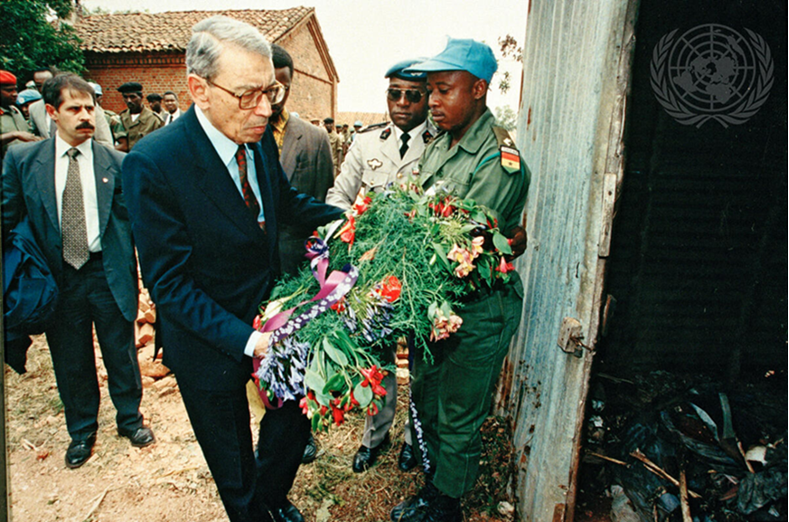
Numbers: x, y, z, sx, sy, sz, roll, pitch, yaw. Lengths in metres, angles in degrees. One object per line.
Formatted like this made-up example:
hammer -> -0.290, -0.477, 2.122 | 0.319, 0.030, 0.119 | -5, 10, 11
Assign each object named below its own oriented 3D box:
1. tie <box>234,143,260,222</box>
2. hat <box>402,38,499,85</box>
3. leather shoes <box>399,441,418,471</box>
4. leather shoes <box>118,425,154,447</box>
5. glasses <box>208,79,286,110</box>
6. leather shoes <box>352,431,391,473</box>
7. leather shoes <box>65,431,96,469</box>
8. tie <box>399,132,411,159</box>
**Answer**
tie -> -0.946, -0.503, 4.029 | 0.109, 0.496, 0.061 | -12, -12, 11
hat -> 0.425, -1.462, 4.500 | 0.666, 0.260, 0.444 | 6, 16, 4
leather shoes -> 0.106, 1.558, 5.018 | 0.100, 0.116, 0.275 | -1, 14, -1
leather shoes -> -2.192, 1.454, 5.322 | 0.301, 0.130, 0.143 | 9, 22, 17
glasses -> -0.913, -1.025, 3.866 | 0.409, 0.176, 0.192 | -8, 20, -36
leather shoes -> -0.133, 1.548, 5.104 | 0.154, 0.190, 0.453 | 14, 21, 32
leather shoes -> -2.600, 1.535, 5.207 | 0.204, 0.172, 0.455 | 3, 15, -10
tie -> 0.083, -0.966, 5.187 | 0.059, 0.258, 0.076 | 11, -1, 7
